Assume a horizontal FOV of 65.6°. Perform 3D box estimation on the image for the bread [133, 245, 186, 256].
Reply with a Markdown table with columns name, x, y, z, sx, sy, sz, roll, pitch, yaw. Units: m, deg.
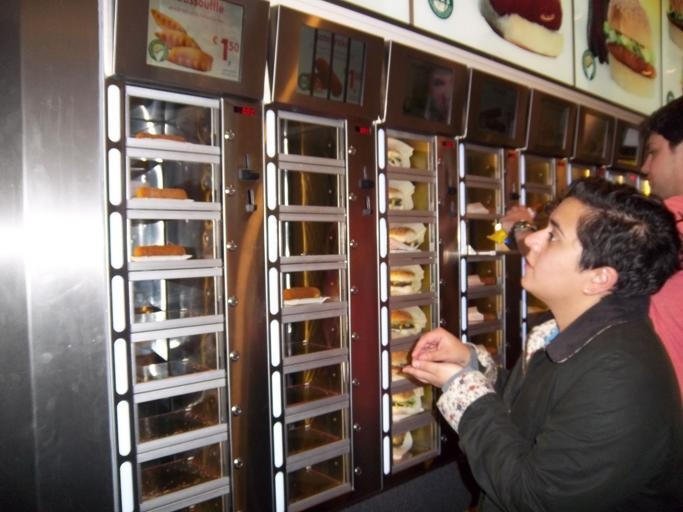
| name | x | y | z | sx | sy | sz | roll | pitch | yaw |
| --- | --- | --- | --- | --- | --- | --- | --- | --- | --- |
| bread | -0.855 | -0.027 | 2.484 | 0.165 | 0.043 | 0.085 | -1 | 4 | -41 |

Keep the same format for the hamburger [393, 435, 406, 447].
| name | x | y | z | sx | sy | sz | roll | pitch | yaw |
| --- | --- | --- | --- | --- | --- | --- | --- | --- | --- |
| hamburger | 0.356 | 1.161 | 3.331 | 0.069 | 0.078 | 0.077 | 2 | 3 | 38 |

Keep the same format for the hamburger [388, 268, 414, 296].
| name | x | y | z | sx | sy | sz | roll | pitch | yaw |
| --- | --- | --- | --- | --- | --- | --- | --- | --- | --- |
| hamburger | 0.375 | 0.164 | 3.334 | 0.155 | 0.154 | 0.060 | 4 | 3 | -27 |

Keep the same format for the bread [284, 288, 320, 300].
| name | x | y | z | sx | sy | sz | roll | pitch | yaw |
| --- | --- | --- | --- | --- | --- | --- | --- | --- | --- |
| bread | -0.223 | 0.204 | 2.939 | 0.221 | 0.071 | 0.062 | 2 | 7 | -39 |

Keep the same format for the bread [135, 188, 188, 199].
| name | x | y | z | sx | sy | sz | roll | pitch | yaw |
| --- | --- | --- | --- | --- | --- | --- | --- | --- | --- |
| bread | -0.849 | -0.289 | 2.453 | 0.195 | 0.053 | 0.053 | -2 | 35 | -40 |

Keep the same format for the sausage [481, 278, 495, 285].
| name | x | y | z | sx | sy | sz | roll | pitch | yaw |
| --- | --- | --- | --- | --- | --- | --- | --- | --- | --- |
| sausage | 1.072 | 0.183 | 3.849 | 0.060 | 0.049 | 0.065 | 0 | -4 | 6 |

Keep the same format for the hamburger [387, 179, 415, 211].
| name | x | y | z | sx | sy | sz | roll | pitch | yaw |
| --- | --- | --- | --- | --- | --- | --- | --- | --- | --- |
| hamburger | 0.376 | -0.383 | 3.382 | 0.188 | 0.190 | 0.097 | 2 | 0 | -34 |
